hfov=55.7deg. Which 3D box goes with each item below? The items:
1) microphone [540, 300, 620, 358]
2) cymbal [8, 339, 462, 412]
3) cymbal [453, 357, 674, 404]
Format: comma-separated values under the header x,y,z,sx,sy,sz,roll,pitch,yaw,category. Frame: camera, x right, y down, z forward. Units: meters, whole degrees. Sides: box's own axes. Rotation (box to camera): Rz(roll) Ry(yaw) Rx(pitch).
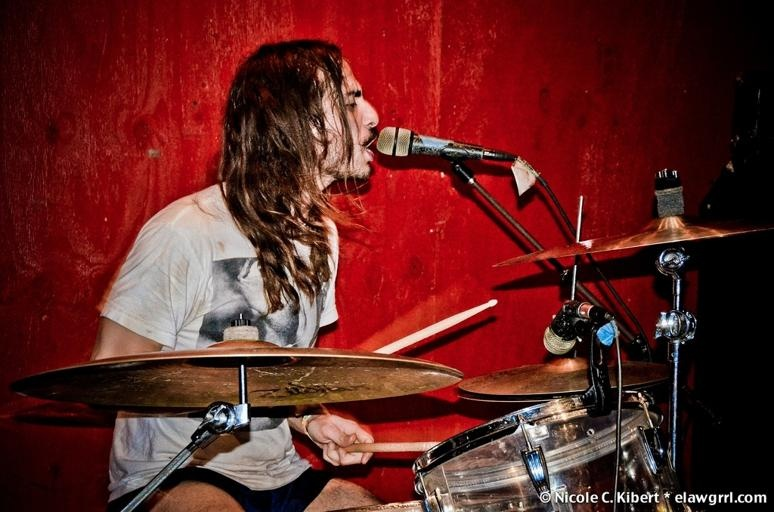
x,y,z,sx,sy,sz,roll,pitch,yaw,category
0.733,0.287,2.710,0.128,0.202,0.350,4,0,-23,microphone
-0.632,0.504,2.705,1.085,0.145,1.082,-1,-18,1,cymbal
0.643,0.476,2.788,0.391,0.077,0.381,-1,0,-5,cymbal
